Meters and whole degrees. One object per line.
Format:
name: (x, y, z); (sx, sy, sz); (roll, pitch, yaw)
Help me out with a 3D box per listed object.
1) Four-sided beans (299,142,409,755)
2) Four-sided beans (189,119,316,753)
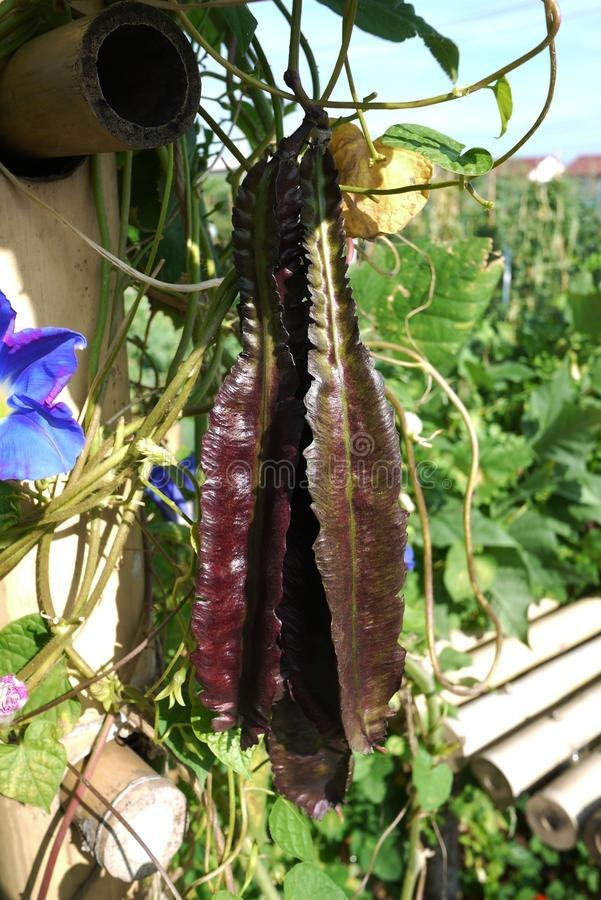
Four-sided beans: (0.037, 0.001, 0.595); (0.078, 0.412, 0.051); (-1, 5, 41)
Four-sided beans: (-0.038, -0.012, 0.577); (0.083, 0.415, 0.065); (6, -7, -14)
